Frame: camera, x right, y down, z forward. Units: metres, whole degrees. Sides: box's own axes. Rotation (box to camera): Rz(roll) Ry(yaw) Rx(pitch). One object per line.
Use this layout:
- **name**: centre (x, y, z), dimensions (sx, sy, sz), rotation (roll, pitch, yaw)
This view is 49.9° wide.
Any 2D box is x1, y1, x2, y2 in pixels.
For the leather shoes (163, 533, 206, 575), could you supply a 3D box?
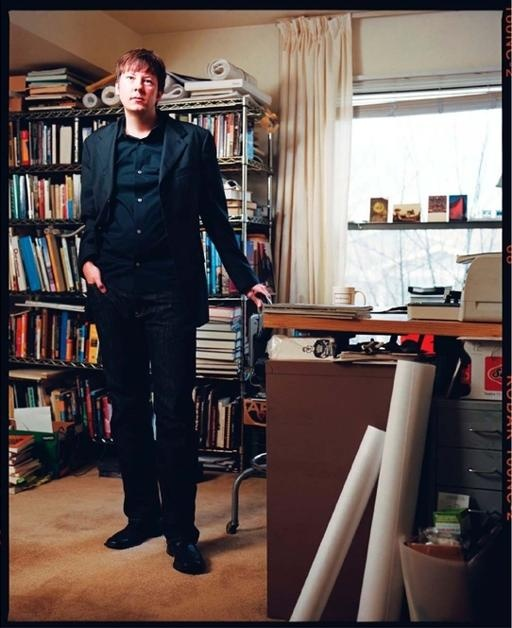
- **leather shoes**: centre (-0.198, 0.729, 1.648), dimensions (0.063, 0.067, 0.165), rotation (4, -16, -15)

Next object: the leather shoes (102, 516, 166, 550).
- **leather shoes**: centre (-0.409, 0.740, 1.893), dimensions (0.243, 0.098, 0.083), rotation (-3, -1, -28)

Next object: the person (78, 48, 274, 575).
- **person**: centre (-0.292, 0.009, 1.748), dimensions (0.554, 1.488, 0.324), rotation (-3, 0, 33)

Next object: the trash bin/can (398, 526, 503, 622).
- **trash bin/can**: centre (0.471, 0.622, 1.334), dimensions (0.193, 0.184, 0.246), rotation (0, 2, 37)
